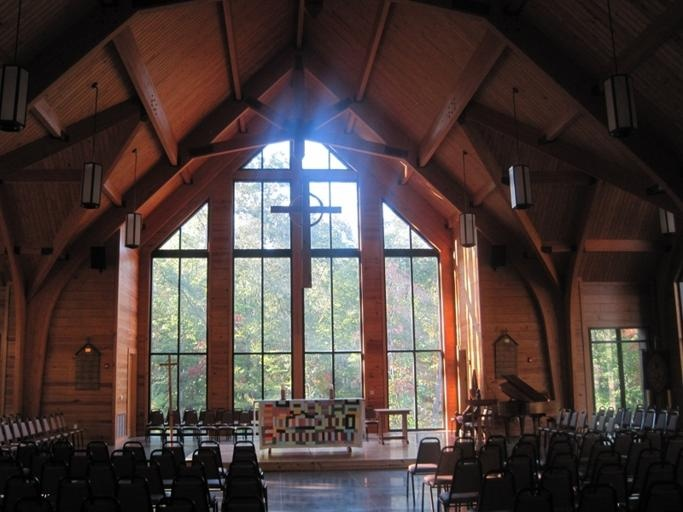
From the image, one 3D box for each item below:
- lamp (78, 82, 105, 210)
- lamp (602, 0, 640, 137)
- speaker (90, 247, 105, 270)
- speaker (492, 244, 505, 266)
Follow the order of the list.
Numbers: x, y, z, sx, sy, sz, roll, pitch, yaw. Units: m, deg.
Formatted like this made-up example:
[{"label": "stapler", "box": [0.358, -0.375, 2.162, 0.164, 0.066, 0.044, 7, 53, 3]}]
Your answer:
[{"label": "lamp", "box": [-5.244, -2.130, 15.405, 0.367, 2.584, 1.596, 2, -13, -20]}, {"label": "lamp", "box": [4.705, -3.229, 12.605, 0.438, 2.576, 1.036, -7, -13, 21]}, {"label": "speaker", "box": [-6.486, 0.023, 19.499, 0.383, 0.569, 0.293, 2, -13, -20]}, {"label": "speaker", "box": [4.248, -0.016, 19.749, 0.392, 0.555, 0.175, -5, -12, 9]}]
